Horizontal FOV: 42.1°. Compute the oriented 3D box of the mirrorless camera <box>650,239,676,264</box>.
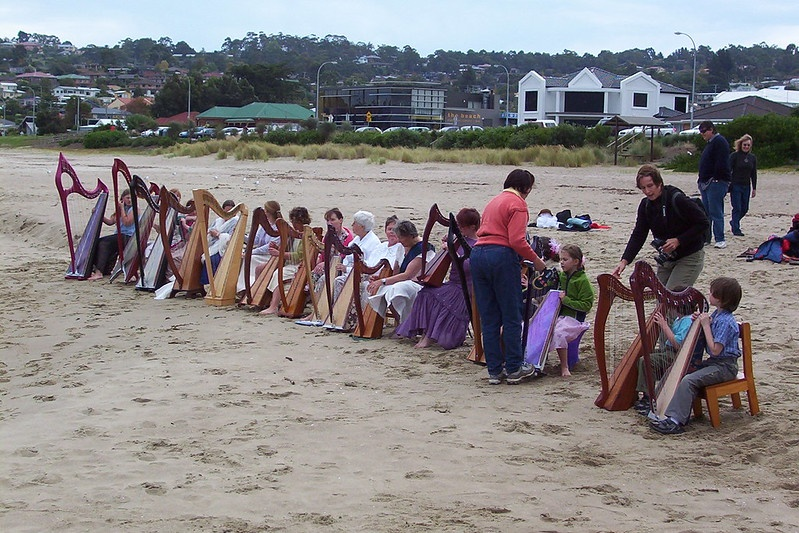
[{"bbox_3d":[3.038,-0.126,12.046,0.114,0.274,0.272,-34,-58,22],"label":"mirrorless camera"}]

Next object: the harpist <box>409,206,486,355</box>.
[{"bbox_3d":[0.684,0.140,13.009,0.913,0.791,1.666,15,-42,-16],"label":"harpist"}]

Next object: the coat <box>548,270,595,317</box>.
[{"bbox_3d":[2.108,0.251,12.470,0.448,0.692,0.621,-1,4,-39],"label":"coat"}]

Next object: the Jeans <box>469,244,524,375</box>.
[{"bbox_3d":[1.134,0.492,11.971,0.595,1.543,0.223,-1,13,4],"label":"Jeans"}]

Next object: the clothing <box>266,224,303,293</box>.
[{"bbox_3d":[-1.562,-0.037,14.790,0.298,1.060,0.571,13,-27,-15],"label":"clothing"}]

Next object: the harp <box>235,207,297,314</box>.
[{"bbox_3d":[-1.995,-0.183,14.897,0.550,1.118,1.959,1,30,7],"label":"harp"}]

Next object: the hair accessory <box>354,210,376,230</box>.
[{"bbox_3d":[-0.461,-0.666,14.212,0.225,0.303,0.278,-1,-10,-35],"label":"hair accessory"}]

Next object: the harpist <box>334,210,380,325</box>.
[{"bbox_3d":[-0.561,-0.021,14.223,0.498,1.493,0.728,12,36,12],"label":"harpist"}]

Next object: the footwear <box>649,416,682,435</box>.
[{"bbox_3d":[2.844,1.678,11.045,0.314,0.157,0.142,4,3,4],"label":"footwear"}]

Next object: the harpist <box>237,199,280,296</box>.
[{"bbox_3d":[-2.019,-0.217,14.862,0.297,1.235,0.688,12,-12,3],"label":"harpist"}]

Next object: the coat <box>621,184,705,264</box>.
[{"bbox_3d":[3.109,-0.496,12.006,0.928,0.877,0.456,1,13,15],"label":"coat"}]

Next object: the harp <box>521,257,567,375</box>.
[{"bbox_3d":[1.706,0.638,12.349,0.238,1.060,0.618,21,-9,-16],"label":"harp"}]

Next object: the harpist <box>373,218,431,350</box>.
[{"bbox_3d":[0.018,0.159,13.392,0.899,1.550,0.948,-1,4,-10],"label":"harpist"}]

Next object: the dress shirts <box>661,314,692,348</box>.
[{"bbox_3d":[3.011,0.675,11.177,0.286,0.318,0.169,-4,-29,35],"label":"dress shirts"}]

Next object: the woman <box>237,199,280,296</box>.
[{"bbox_3d":[-2.019,-0.217,14.862,0.297,1.235,0.687,12,-12,3],"label":"woman"}]

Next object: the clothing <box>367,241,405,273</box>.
[{"bbox_3d":[-0.174,-0.176,13.826,0.313,0.401,0.518,38,-13,-35],"label":"clothing"}]

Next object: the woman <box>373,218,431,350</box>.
[{"bbox_3d":[0.027,0.146,13.355,0.902,1.440,0.909,-2,5,-23],"label":"woman"}]

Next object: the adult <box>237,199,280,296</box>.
[{"bbox_3d":[-2.019,-0.217,14.862,0.298,1.235,0.687,12,-12,3],"label":"adult"}]

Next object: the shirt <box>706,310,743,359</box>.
[{"bbox_3d":[3.510,0.733,11.172,0.371,0.541,0.250,-1,13,4],"label":"shirt"}]

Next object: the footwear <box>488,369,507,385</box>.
[{"bbox_3d":[1.158,1.275,12.084,0.099,0.133,0.280,5,12,26],"label":"footwear"}]

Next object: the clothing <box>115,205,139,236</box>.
[{"bbox_3d":[-4.311,-0.754,16.538,0.462,0.580,0.377,1,2,19],"label":"clothing"}]

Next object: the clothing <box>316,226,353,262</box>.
[{"bbox_3d":[-0.841,-0.331,14.558,0.494,0.620,0.442,1,-4,-39],"label":"clothing"}]

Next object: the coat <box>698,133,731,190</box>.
[{"bbox_3d":[5.255,-1.723,17.331,0.611,1.027,0.957,-2,5,-2],"label":"coat"}]

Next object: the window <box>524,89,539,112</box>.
[{"bbox_3d":[11.419,-14.287,88.994,0.206,2.507,2.006,-3,3,-34],"label":"window"}]

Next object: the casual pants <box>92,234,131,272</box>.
[{"bbox_3d":[-4.768,-0.106,16.956,0.475,0.342,0.713,1,-39,-6],"label":"casual pants"}]

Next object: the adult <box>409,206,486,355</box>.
[{"bbox_3d":[0.787,0.056,13.919,0.936,1.235,2.079,6,35,22],"label":"adult"}]

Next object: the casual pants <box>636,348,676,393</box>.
[{"bbox_3d":[2.814,1.144,11.460,0.405,0.570,0.388,2,-5,5],"label":"casual pants"}]

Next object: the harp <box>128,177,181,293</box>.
[{"bbox_3d":[-3.741,-0.416,15.795,0.448,1.671,0.979,6,-9,17],"label":"harp"}]

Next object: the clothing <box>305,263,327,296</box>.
[{"bbox_3d":[-1.132,0.115,14.297,0.201,0.318,0.128,-3,-18,45],"label":"clothing"}]

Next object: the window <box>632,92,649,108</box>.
[{"bbox_3d":[19.858,-13.807,85.375,1.154,1.065,0.100,2,-3,3],"label":"window"}]
